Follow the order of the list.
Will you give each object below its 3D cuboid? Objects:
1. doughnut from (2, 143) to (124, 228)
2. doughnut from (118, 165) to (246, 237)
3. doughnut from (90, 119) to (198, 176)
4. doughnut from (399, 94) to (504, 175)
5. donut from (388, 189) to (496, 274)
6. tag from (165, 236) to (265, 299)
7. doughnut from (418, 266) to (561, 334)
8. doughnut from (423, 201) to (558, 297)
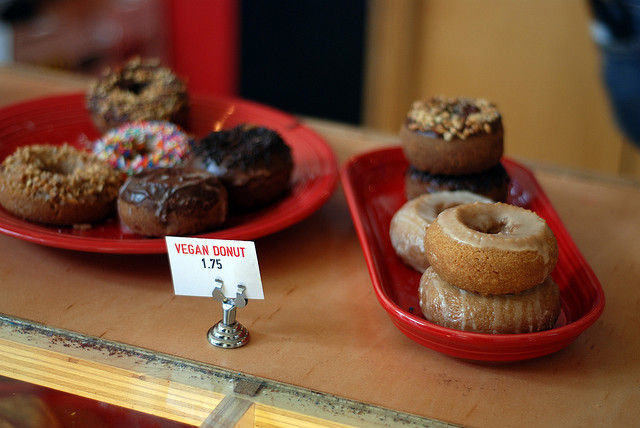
[{"bbox_3d":[-0.415,-0.078,0.863,0.147,0.064,0.164,11,17,2],"label":"doughnut"},{"bbox_3d":[-0.245,-0.031,0.904,0.176,0.068,0.177,-3,20,-20],"label":"doughnut"},{"bbox_3d":[-0.313,-0.125,0.990,0.138,0.053,0.131,8,25,21],"label":"doughnut"},{"bbox_3d":[0.225,-0.146,0.952,0.159,0.102,0.168,4,34,13],"label":"doughnut"},{"bbox_3d":[0.205,0.012,0.879,0.149,0.057,0.154,20,46,36],"label":"donut"},{"bbox_3d":[-0.142,0.073,0.731,0.091,0.064,0.002,2,20,11],"label":"tag"},{"bbox_3d":[0.214,0.104,0.783,0.162,0.063,0.166,-7,-14,-8],"label":"doughnut"},{"bbox_3d":[0.233,0.040,0.757,0.181,0.077,0.184,1,22,18],"label":"doughnut"}]
